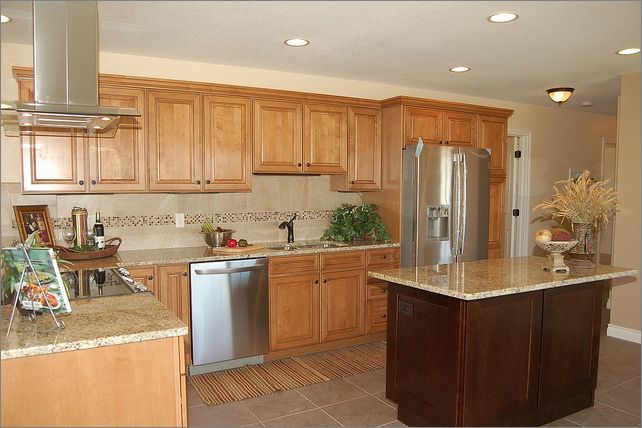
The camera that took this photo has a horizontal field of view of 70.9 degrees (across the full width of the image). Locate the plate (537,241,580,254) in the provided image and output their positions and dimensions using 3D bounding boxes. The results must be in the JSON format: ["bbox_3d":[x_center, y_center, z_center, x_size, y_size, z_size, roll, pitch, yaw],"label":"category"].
[{"bbox_3d":[1.992,0.271,3.741,0.336,0.119,0.136,0,11,-3],"label":"plate"}]

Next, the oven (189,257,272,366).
[{"bbox_3d":[-0.980,0.962,4.831,1.006,1.233,0.981,0,-2,-30],"label":"oven"}]

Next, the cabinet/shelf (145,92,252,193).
[{"bbox_3d":[-1.287,-0.737,4.526,1.222,0.974,0.443,0,2,-25],"label":"cabinet/shelf"}]

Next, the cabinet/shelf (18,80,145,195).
[{"bbox_3d":[-2.328,-0.730,4.251,0.470,1.046,1.194,16,16,29],"label":"cabinet/shelf"}]

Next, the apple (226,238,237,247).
[{"bbox_3d":[-0.936,0.306,4.724,0.086,0.099,0.081,17,19,17],"label":"apple"}]

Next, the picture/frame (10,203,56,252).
[{"bbox_3d":[-2.684,0.106,4.205,0.302,0.366,0.314,-7,14,-32],"label":"picture/frame"}]

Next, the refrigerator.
[{"bbox_3d":[1.483,-0.136,5.373,1.241,1.447,0.482,-7,15,-33],"label":"refrigerator"}]

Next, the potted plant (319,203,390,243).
[{"bbox_3d":[0.422,0.107,5.355,0.673,0.282,0.507,1,-2,-20],"label":"potted plant"}]

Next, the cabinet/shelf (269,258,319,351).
[{"bbox_3d":[-0.292,0.909,4.693,0.531,0.954,0.205,-3,13,-14],"label":"cabinet/shelf"}]

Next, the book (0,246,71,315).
[{"bbox_3d":[-1.635,0.386,2.549,0.453,0.444,0.035,-8,11,11],"label":"book"}]

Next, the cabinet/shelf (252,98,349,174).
[{"bbox_3d":[-0.278,-0.868,4.931,1.020,0.562,0.350,2,-3,-34],"label":"cabinet/shelf"}]
